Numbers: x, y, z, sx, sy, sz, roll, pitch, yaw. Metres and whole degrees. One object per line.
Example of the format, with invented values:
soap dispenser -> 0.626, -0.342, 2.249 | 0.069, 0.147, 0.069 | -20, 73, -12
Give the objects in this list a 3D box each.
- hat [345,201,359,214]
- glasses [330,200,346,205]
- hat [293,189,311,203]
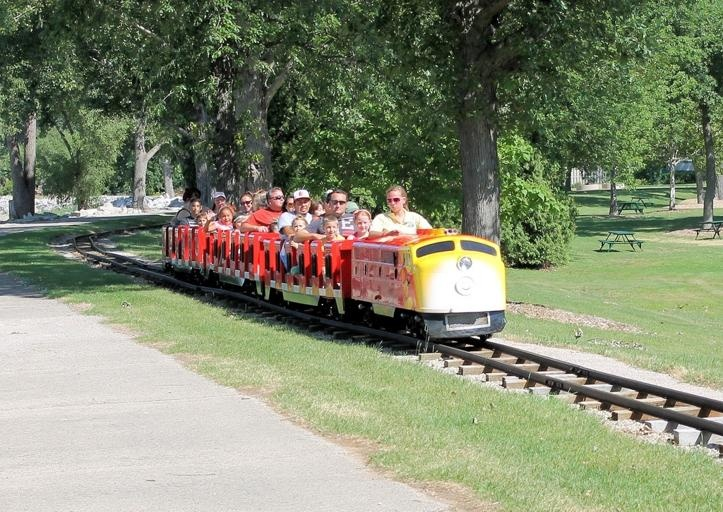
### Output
hat -> -0.197, -1.006, 22.375 | 0.226, 0.178, 0.332 | -1, -4, -14
glasses -> -0.456, -1.046, 21.028 | 0.301, 0.097, 0.207 | -1, 8, -9
hat -> -1.251, -1.243, 22.214 | 0.312, 0.264, 0.738 | -1, 8, -7
